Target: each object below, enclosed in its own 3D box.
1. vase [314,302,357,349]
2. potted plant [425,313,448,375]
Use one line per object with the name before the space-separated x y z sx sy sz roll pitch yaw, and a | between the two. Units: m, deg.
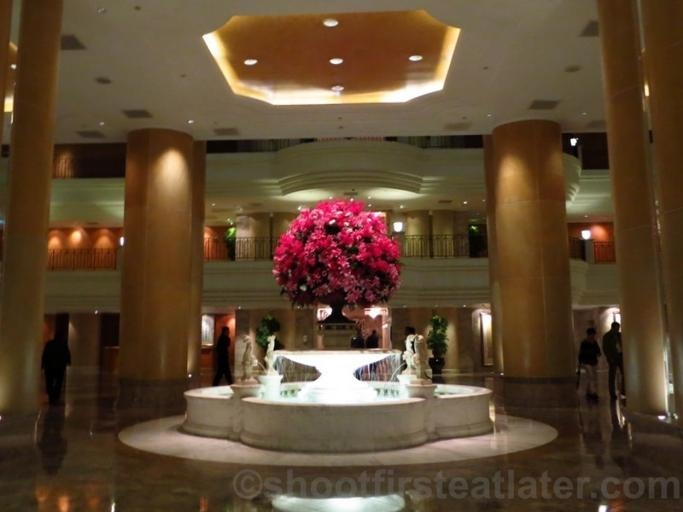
vase | -0.116 1.036 7.967 0.503 0.601 0.547 2 -6 12
potted plant | 3.320 3.112 19.619 0.647 2.085 1.287 -1 -6 8
